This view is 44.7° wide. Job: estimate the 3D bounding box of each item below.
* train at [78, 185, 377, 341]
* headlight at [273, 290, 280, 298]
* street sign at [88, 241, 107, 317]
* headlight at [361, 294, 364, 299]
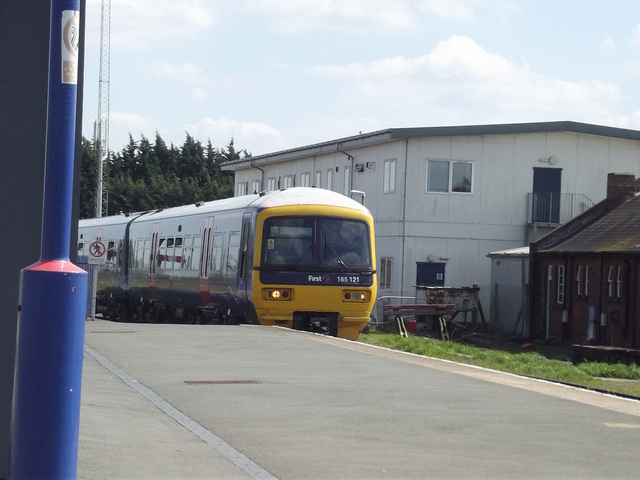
[{"bbox_3d":[-4.759,0.814,26.292,2.745,4.099,17.405,4,-3,-32],"label":"train"},{"bbox_3d":[-1.030,1.268,18.254,0.160,0.161,0.040,-1,-5,-2],"label":"headlight"},{"bbox_3d":[-7.542,1.239,25.997,0.121,2.656,0.763,10,6,40],"label":"street sign"},{"bbox_3d":[1.022,1.372,18.812,0.073,0.077,0.076,2,0,0],"label":"headlight"}]
